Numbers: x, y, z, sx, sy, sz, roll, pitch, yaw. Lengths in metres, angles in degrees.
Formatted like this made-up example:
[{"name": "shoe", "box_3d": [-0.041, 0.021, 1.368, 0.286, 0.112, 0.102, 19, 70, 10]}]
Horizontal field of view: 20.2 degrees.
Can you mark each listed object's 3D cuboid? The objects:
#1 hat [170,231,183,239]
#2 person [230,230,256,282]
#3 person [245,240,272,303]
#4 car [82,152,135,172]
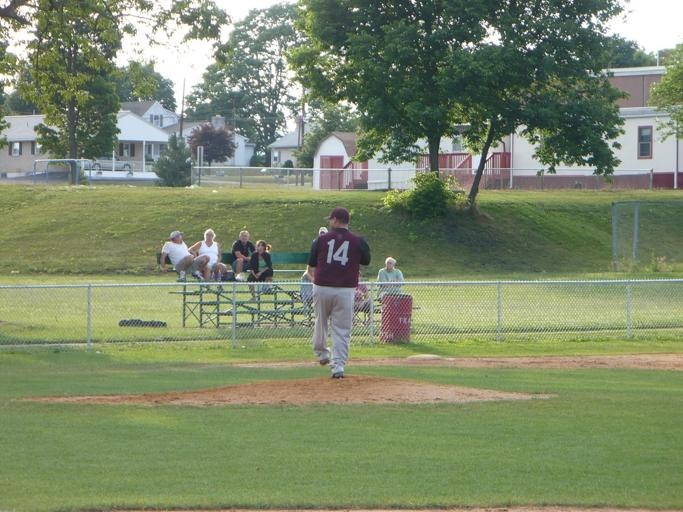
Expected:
[{"name": "hat", "box_3d": [-6.398, -0.784, 72.949, 0.504, 0.253, 0.380, -23, 3, 2]}, {"name": "person", "box_3d": [-3.654, -0.015, 72.852, 1.064, 1.834, 1.056, 2, 0, -15]}, {"name": "person", "box_3d": [-3.063, 0.527, 71.840, 1.068, 2.327, 1.380, -2, 1, 17]}, {"name": "car", "box_3d": [-14.785, -6.014, 120.926, 3.408, 1.157, 1.430, 0, 1, -22]}]
